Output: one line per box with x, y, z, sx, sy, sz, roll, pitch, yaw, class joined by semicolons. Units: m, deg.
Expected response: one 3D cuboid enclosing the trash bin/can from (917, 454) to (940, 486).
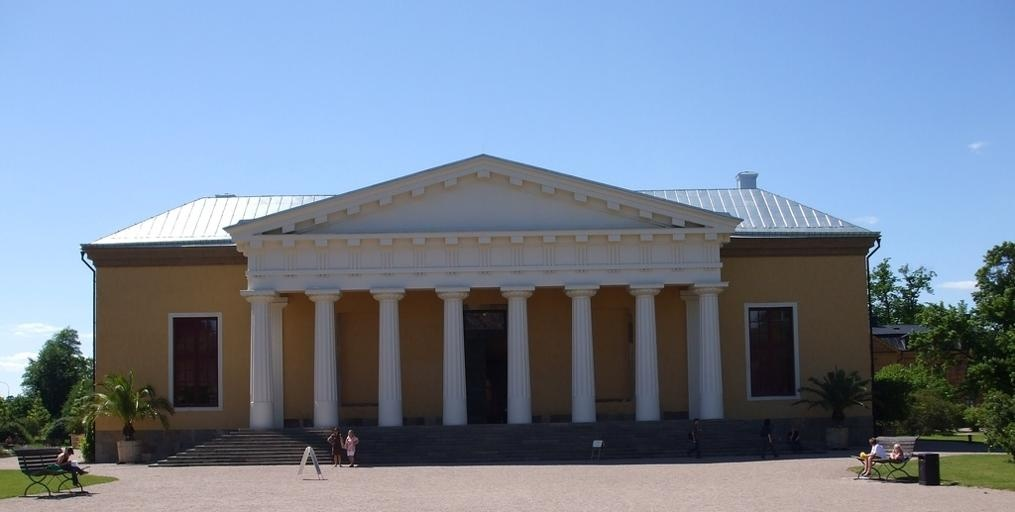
26.865;13.457;79.850;1.275;1.986;0.750;-3;-8;14;trash bin/can
